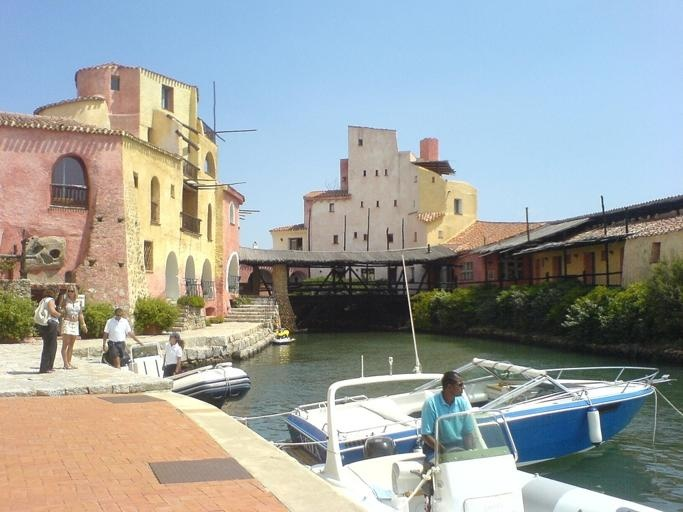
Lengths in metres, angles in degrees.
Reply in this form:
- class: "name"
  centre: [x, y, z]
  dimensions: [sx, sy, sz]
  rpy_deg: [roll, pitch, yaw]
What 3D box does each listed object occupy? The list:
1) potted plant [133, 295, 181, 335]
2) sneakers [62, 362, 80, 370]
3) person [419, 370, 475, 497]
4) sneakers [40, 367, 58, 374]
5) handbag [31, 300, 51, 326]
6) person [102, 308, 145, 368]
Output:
- class: "potted plant"
  centre: [-7.644, 2.467, 27.687]
  dimensions: [1.452, 1.293, 1.562]
  rpy_deg: [2, 1, -1]
- class: "sneakers"
  centre: [-6.215, 2.537, 15.548]
  dimensions: [0.277, 0.109, 0.153]
  rpy_deg: [1, 6, -1]
- class: "person"
  centre: [1.416, 2.404, 9.154]
  dimensions: [0.676, 1.631, 0.737]
  rpy_deg: [-2, -5, 7]
- class: "sneakers"
  centre: [-6.339, 2.498, 14.723]
  dimensions: [0.315, 0.211, 0.107]
  rpy_deg: [-1, 4, -11]
- class: "handbag"
  centre: [-6.335, 1.181, 14.354]
  dimensions: [0.254, 0.586, 0.479]
  rpy_deg: [2, -6, -29]
- class: "person"
  centre: [-5.388, 1.985, 16.495]
  dimensions: [0.741, 1.441, 1.097]
  rpy_deg: [1, -5, -19]
